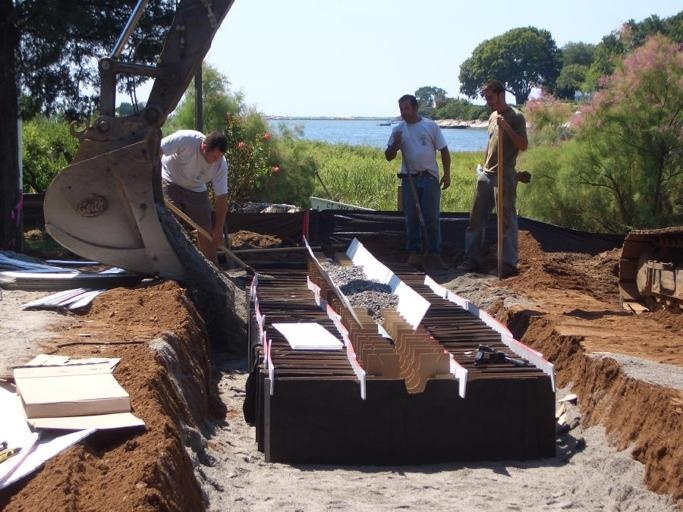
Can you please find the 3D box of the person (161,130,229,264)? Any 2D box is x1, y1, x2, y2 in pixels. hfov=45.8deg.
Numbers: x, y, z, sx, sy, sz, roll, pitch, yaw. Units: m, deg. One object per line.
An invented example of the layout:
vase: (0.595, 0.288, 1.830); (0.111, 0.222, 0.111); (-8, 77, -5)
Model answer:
person: (-1.864, -0.734, 10.170); (0.734, 1.797, 1.107); (-14, 54, -25)

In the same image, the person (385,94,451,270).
person: (1.124, -1.028, 11.575); (0.825, 2.474, 0.612); (-1, 8, 3)

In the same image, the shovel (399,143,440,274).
shovel: (1.123, -0.901, 11.726); (0.724, 2.185, 0.425); (-4, -1, 20)

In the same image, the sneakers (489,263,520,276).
sneakers: (2.262, 0.214, 11.030); (0.368, 0.225, 0.153); (4, 3, -16)

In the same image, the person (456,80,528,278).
person: (2.067, -1.020, 10.923); (0.817, 2.614, 1.596); (0, 9, 10)

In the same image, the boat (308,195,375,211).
boat: (-0.019, -1.115, 17.262); (0.518, 0.369, 2.086); (-5, 8, -30)
